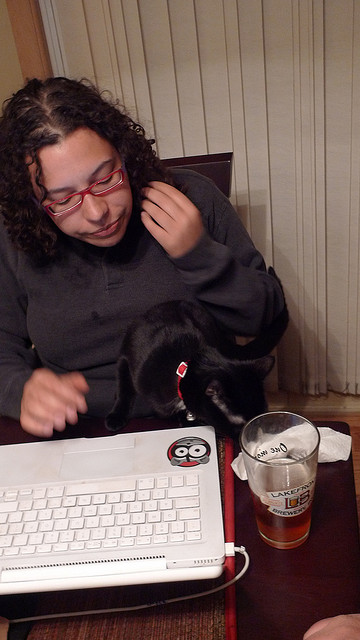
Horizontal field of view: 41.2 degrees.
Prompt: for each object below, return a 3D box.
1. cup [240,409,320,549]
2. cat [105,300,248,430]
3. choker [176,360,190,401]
[{"bbox_3d":[0.116,0.190,0.559,0.084,0.138,0.082,-7,24,3],"label":"cup"},{"bbox_3d":[0.002,0.096,0.862,0.183,0.123,0.246,-29,52,-13],"label":"cat"},{"bbox_3d":[0.008,0.122,0.869,0.033,0.047,0.013,0,-6,32],"label":"choker"}]
